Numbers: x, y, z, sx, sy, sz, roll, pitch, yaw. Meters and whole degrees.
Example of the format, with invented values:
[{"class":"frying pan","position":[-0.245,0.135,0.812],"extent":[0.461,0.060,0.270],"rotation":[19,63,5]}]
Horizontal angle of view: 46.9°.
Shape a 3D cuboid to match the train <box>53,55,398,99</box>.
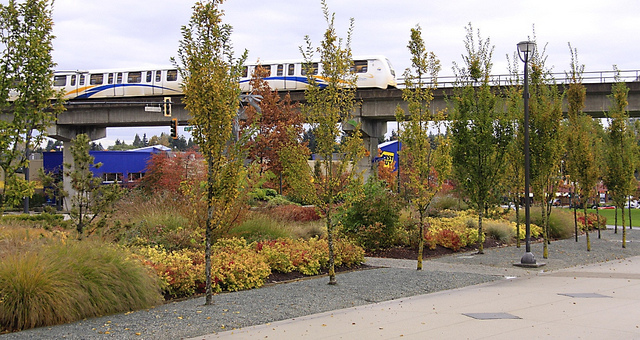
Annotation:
[{"class":"train","position":[-8.927,-8.248,60.769],"extent":[30.432,4.234,3.242],"rotation":[-2,43,-1]}]
